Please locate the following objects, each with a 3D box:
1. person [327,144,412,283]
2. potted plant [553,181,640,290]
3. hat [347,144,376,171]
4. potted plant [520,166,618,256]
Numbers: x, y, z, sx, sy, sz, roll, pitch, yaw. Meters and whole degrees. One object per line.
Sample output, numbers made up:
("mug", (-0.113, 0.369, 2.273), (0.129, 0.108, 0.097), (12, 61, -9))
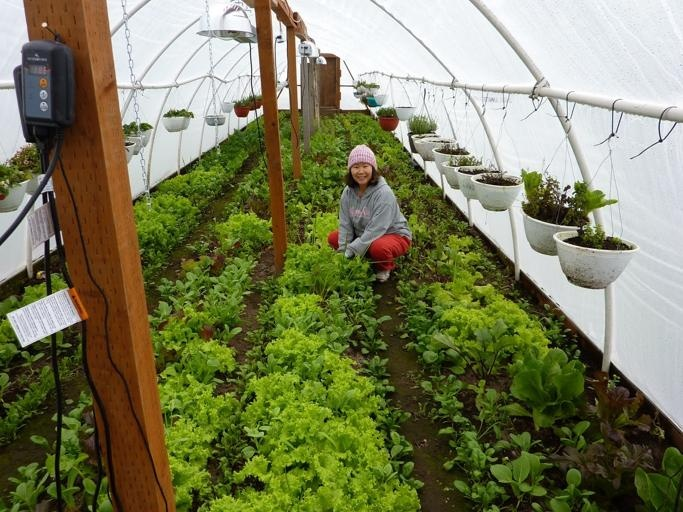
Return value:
("person", (0.318, -0.581, 6.210), (0.974, 1.570, 1.045), (-11, 16, -43))
("potted plant", (1.986, -0.196, 3.926), (0.545, 0.805, 0.547), (1, 12, 9))
("hat", (0.250, -1.203, 6.019), (0.257, 0.300, 0.302), (-1, 12, -2))
("potted plant", (2.002, -0.338, 4.521), (0.666, 0.780, 0.872), (-3, 4, -7))
